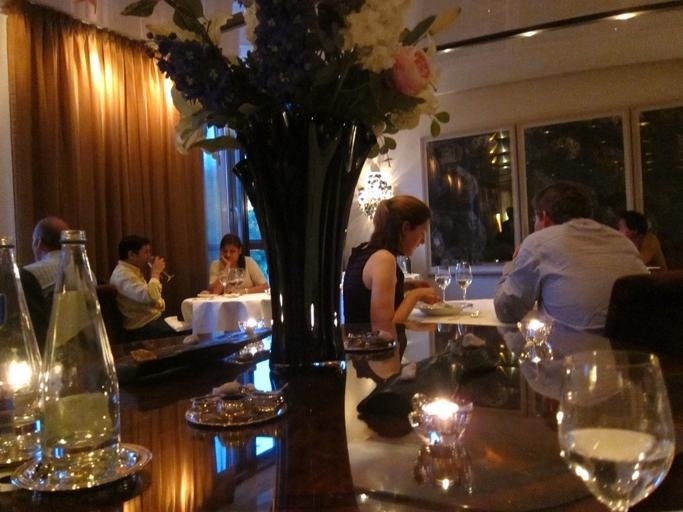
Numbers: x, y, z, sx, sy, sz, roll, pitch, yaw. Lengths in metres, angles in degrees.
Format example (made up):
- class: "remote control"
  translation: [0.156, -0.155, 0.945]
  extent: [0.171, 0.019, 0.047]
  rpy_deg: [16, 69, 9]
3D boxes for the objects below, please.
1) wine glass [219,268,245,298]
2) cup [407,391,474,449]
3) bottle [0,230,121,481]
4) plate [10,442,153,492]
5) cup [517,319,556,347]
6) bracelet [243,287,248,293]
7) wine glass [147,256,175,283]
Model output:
- class: "wine glass"
  translation: [-0.848, 0.202, 4.401]
  extent: [0.184, 0.219, 0.195]
  rpy_deg: [-2, 1, 7]
- class: "cup"
  translation: [0.127, 0.213, 0.743]
  extent: [0.051, 0.039, 0.053]
  rpy_deg: [-1, -7, 0]
- class: "bottle"
  translation: [-0.312, 0.112, 0.678]
  extent: [0.144, 0.284, 0.135]
  rpy_deg: [-2, 3, 0]
- class: "plate"
  translation: [-0.301, 0.237, 0.670]
  extent: [0.151, 0.036, 0.091]
  rpy_deg: [-3, 4, -20]
- class: "cup"
  translation: [0.472, 0.182, 1.388]
  extent: [0.075, 0.062, 0.086]
  rpy_deg: [-2, 3, -8]
- class: "bracelet"
  translation: [-0.760, 0.273, 4.523]
  extent: [0.045, 0.038, 0.048]
  rpy_deg: [3, 8, 15]
- class: "wine glass"
  translation: [-1.683, 0.125, 5.339]
  extent: [0.261, 0.113, 0.161]
  rpy_deg: [20, 39, 15]
